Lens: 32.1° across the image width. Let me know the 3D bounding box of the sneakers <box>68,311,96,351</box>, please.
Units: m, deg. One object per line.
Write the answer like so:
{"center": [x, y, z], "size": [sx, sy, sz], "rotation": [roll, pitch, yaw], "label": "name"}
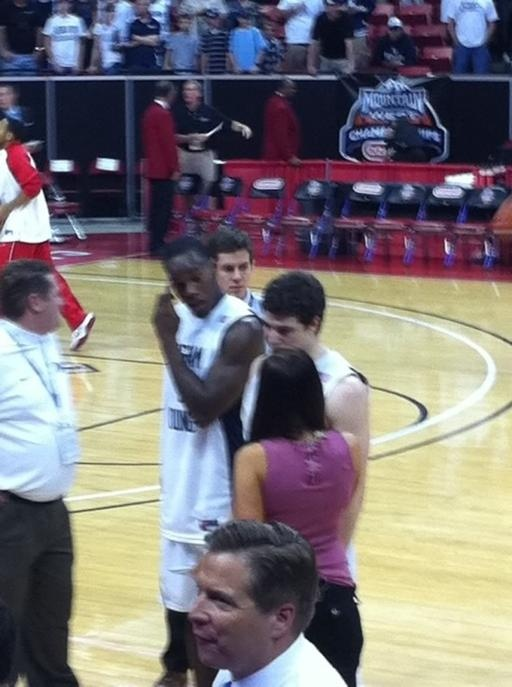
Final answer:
{"center": [-1.577, -0.086, 8.273], "size": [0.192, 0.426, 0.163], "rotation": [29, 6, -7], "label": "sneakers"}
